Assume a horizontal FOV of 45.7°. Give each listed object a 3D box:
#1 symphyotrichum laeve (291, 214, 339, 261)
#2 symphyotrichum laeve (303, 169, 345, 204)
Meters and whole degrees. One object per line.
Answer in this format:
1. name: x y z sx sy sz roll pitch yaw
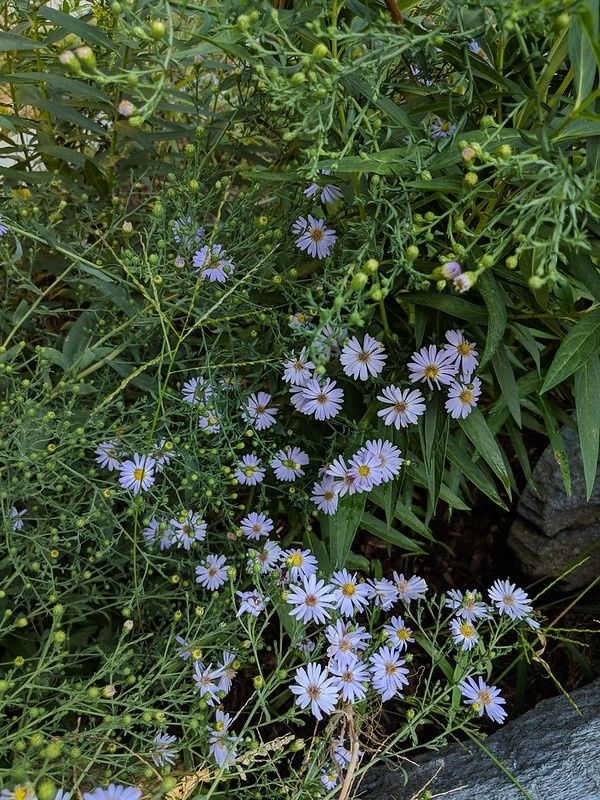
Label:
1. symphyotrichum laeve: 0.029 -0.320 1.412 0.091 0.081 0.021 -6 3 -33
2. symphyotrichum laeve: 0.049 -0.418 1.422 0.058 0.052 0.014 6 8 -31
